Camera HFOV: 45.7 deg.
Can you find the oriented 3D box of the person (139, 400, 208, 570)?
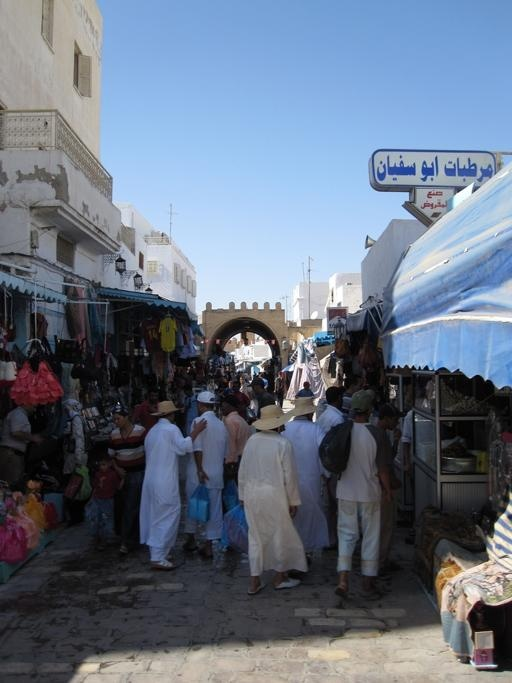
[{"bbox_3d":[-0.803,1.225,5.329,0.545,1.382,0.519,-4,-6,34],"label":"person"}]

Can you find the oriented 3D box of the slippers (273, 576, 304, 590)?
[{"bbox_3d":[0.235,1.795,4.517,0.161,0.070,0.082,-4,6,-18],"label":"slippers"}]

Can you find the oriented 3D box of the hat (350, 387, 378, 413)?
[{"bbox_3d":[0.813,0.455,4.571,0.154,0.144,0.266,2,26,24],"label":"hat"}]

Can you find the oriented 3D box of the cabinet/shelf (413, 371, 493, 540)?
[{"bbox_3d":[1.544,0.849,4.774,0.579,1.217,1.000,-2,-5,16],"label":"cabinet/shelf"}]

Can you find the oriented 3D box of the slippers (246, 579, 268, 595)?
[{"bbox_3d":[0.007,1.785,4.406,0.056,0.079,0.181,-2,-7,12],"label":"slippers"}]

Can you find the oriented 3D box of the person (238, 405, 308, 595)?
[{"bbox_3d":[0.123,1.161,4.574,0.509,1.343,0.395,0,-5,-4],"label":"person"}]

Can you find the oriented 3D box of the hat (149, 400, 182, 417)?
[{"bbox_3d":[-0.824,0.622,5.669,0.235,0.117,0.288,-13,1,9],"label":"hat"}]

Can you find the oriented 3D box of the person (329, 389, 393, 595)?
[{"bbox_3d":[0.782,1.081,4.397,0.397,1.432,0.564,-1,-5,12],"label":"person"}]

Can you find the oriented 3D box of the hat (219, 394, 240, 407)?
[{"bbox_3d":[-0.258,0.608,6.206,0.220,0.109,0.273,21,-14,0],"label":"hat"}]

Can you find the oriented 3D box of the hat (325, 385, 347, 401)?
[{"bbox_3d":[0.743,0.500,5.663,0.149,0.192,0.186,7,21,20],"label":"hat"}]
